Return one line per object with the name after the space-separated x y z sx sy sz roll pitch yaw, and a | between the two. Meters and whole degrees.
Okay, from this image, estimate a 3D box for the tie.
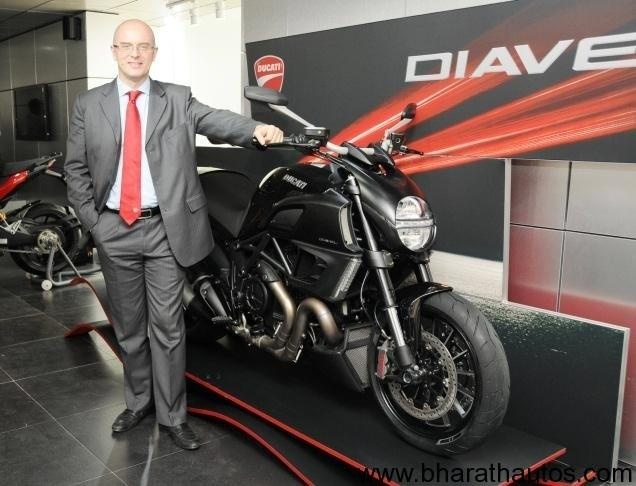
-0.793 -0.365 1.709 0.088 0.566 0.116 -1 10 -10 | tie

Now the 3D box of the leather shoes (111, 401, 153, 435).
-0.926 0.862 2.040 0.079 0.088 0.220 7 12 32 | leather shoes

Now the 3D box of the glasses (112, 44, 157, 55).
-0.759 -0.806 1.660 0.163 0.049 0.049 -2 10 -18 | glasses

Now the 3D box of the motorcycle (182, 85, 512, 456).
-0.151 -0.017 2.108 0.850 1.304 2.229 -3 14 -44 | motorcycle

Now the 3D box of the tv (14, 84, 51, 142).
-4.269 -1.916 6.019 1.049 0.875 0.119 9 11 31 | tv

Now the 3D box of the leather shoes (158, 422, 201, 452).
-0.640 0.887 1.876 0.213 0.086 0.080 19 11 32 | leather shoes
